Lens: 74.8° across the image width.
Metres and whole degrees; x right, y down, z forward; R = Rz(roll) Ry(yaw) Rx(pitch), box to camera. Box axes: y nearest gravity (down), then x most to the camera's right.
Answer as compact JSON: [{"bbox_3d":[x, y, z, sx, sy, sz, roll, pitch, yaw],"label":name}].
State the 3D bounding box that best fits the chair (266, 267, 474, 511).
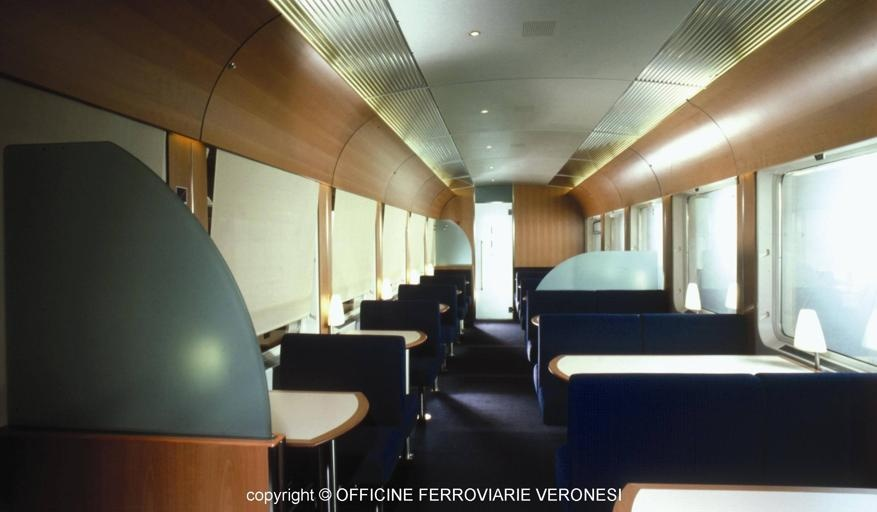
[{"bbox_3d":[-0.620,1.338,6.679,1.175,1.705,2.241,-1,-7,10],"label":"chair"}]
